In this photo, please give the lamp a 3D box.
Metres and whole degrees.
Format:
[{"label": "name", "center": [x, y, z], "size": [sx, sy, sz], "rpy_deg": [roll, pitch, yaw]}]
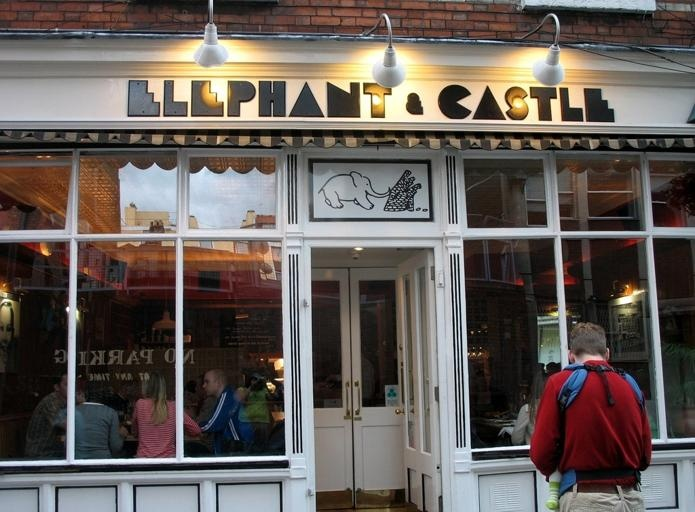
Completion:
[{"label": "lamp", "center": [0.178, -2.405, 9.991], "size": [4.052, 1.101, 0.654], "rpy_deg": [1, 26, -3]}]
